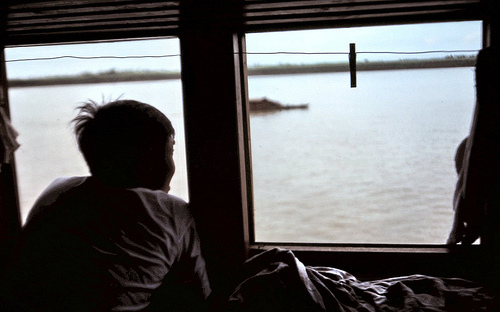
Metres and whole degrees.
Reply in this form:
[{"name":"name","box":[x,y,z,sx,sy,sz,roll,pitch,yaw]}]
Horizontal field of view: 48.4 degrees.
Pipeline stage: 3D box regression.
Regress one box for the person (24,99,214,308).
[{"name":"person","box":[-0.937,0.415,4.119,1.341,1.657,0.939,12,18,22]}]
